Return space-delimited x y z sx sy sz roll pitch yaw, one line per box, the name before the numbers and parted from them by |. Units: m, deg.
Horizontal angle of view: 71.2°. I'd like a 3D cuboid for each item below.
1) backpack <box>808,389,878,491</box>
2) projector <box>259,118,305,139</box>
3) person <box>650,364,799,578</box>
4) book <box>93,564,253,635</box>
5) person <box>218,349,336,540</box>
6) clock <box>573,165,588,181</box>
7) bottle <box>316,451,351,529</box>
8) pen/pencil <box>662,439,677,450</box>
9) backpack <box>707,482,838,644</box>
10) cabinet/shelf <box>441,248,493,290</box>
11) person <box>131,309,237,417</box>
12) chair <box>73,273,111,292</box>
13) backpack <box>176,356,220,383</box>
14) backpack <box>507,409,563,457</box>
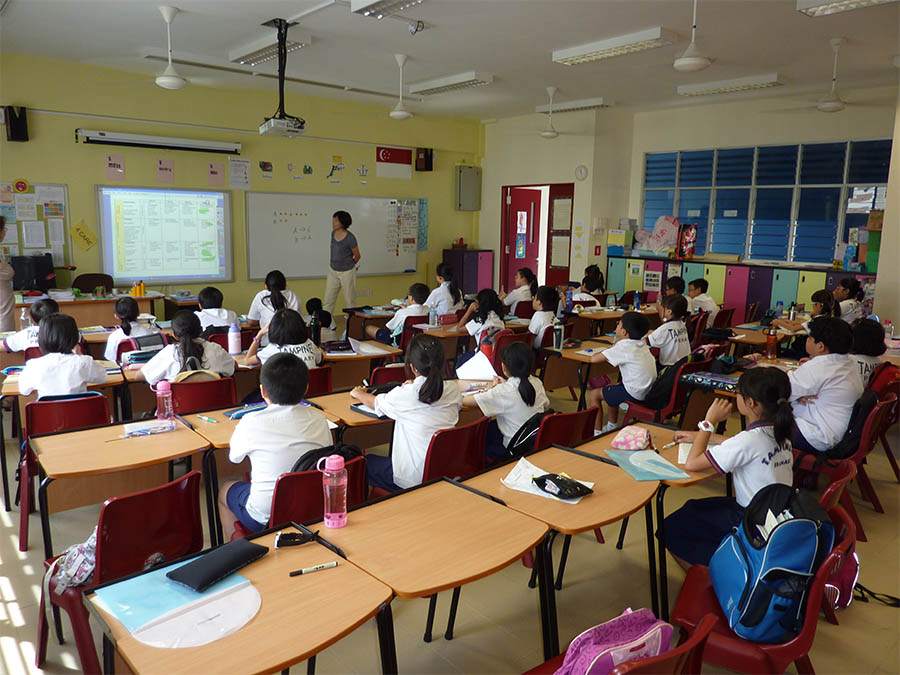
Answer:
backpack | 2.451 0.554 4.031 0.382 0.479 0.274 1 5 17
projector | -1.706 -2.203 6.614 0.309 0.097 0.311 -5 9 -40
person | 1.404 0.700 3.155 0.459 1.096 0.641 -10 11 -30
book | -0.948 0.865 2.161 0.452 0.070 0.265 -7 10 -34
person | -0.802 0.486 2.966 0.426 0.833 0.607 -8 12 -38
clock | 2.090 -2.614 9.992 0.044 0.248 0.275 -7 11 -32
bottle | -0.459 0.599 2.515 0.097 0.288 0.129 -3 9 -12
pen/pencil | 1.149 0.553 3.310 0.131 0.024 0.025 -14 23 -42
backpack | 1.274 0.902 2.535 0.326 0.583 0.471 8 16 9
cabinet/shelf | 0.332 -1.219 11.281 0.766 0.697 0.537 -6 11 -38
person | -1.810 0.191 4.312 0.593 1.105 0.454 -9 39 -27
chair | -4.358 -0.677 7.730 0.431 0.223 0.281 -6 10 -30
backpack | -1.603 0.203 4.006 0.187 0.075 0.164 -6 11 -33
backpack | 0.442 0.484 3.570 0.213 0.295 0.303 -6 31 -10
